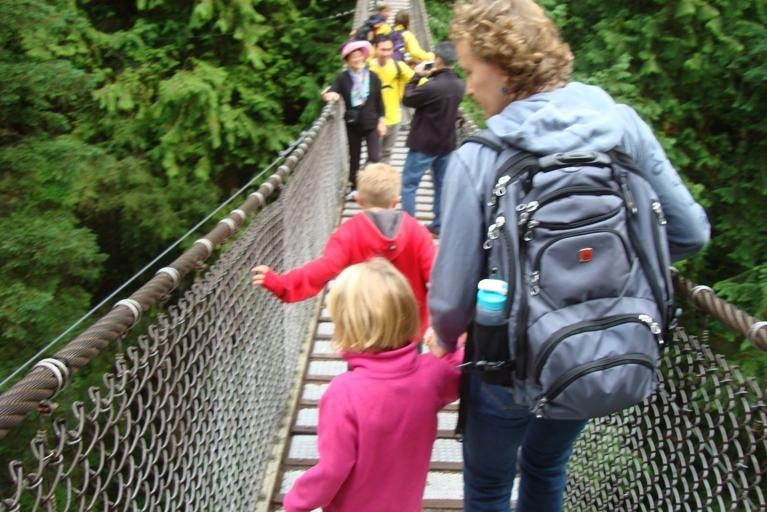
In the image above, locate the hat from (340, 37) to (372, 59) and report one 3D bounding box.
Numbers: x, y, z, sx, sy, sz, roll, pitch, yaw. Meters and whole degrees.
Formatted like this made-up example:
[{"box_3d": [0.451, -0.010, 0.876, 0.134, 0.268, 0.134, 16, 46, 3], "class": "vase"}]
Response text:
[{"box_3d": [-0.228, -1.847, 5.267, 0.184, 0.198, 0.051, -5, 66, -23], "class": "hat"}]
